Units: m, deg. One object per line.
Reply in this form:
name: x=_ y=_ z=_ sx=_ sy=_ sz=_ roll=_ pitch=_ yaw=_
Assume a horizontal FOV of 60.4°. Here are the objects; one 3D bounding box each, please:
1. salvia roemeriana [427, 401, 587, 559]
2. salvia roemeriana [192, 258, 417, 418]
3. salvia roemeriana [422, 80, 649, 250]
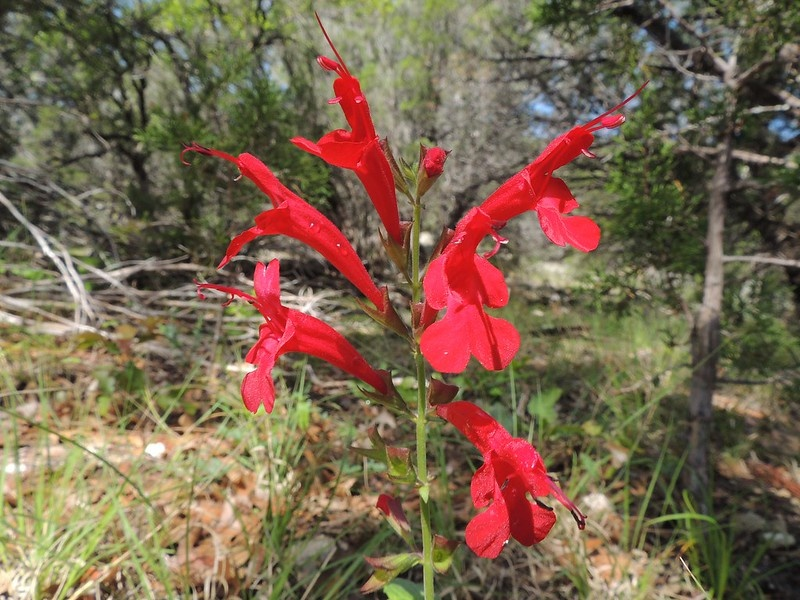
salvia roemeriana: x=0.447 y=0.901 z=3.528 sx=0.325 sy=0.564 sz=0.842 roll=-37 pitch=43 yaw=-10
salvia roemeriana: x=-0.493 y=0.194 z=3.727 sx=0.955 sy=0.536 sz=0.770 roll=10 pitch=17 yaw=-7
salvia roemeriana: x=0.778 y=-0.713 z=3.667 sx=0.410 sy=0.916 sz=0.927 roll=24 pitch=-6 yaw=-3
